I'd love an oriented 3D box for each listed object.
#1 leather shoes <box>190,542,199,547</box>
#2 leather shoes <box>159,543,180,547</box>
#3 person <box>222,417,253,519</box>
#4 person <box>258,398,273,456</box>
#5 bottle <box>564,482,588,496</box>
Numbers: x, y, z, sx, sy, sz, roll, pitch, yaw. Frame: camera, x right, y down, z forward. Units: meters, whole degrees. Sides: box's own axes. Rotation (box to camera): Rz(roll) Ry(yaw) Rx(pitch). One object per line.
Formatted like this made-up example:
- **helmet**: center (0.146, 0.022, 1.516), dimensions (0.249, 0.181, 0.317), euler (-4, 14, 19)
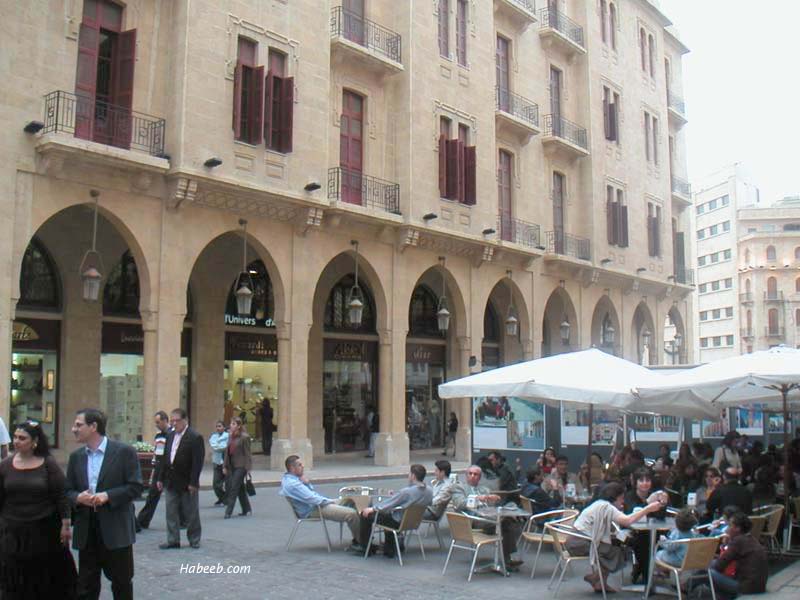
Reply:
- **leather shoes**: center (-3.755, 4.495, 17.400), dimensions (0.185, 0.110, 0.193), euler (3, -12, -12)
- **leather shoes**: center (-4.206, 4.495, 17.343), dimensions (0.366, 0.110, 0.189), euler (3, -12, -14)
- **person**: center (-3.509, 3.661, 20.700), dimensions (0.619, 2.152, 1.059), euler (2, -11, -10)
- **person**: center (-4.450, 4.211, 31.760), dimensions (0.511, 1.879, 1.008), euler (1, -11, -5)
- **bottle**: center (3.528, 3.853, 19.031), dimensions (0.349, 0.376, 0.370), euler (-5, -7, 25)
